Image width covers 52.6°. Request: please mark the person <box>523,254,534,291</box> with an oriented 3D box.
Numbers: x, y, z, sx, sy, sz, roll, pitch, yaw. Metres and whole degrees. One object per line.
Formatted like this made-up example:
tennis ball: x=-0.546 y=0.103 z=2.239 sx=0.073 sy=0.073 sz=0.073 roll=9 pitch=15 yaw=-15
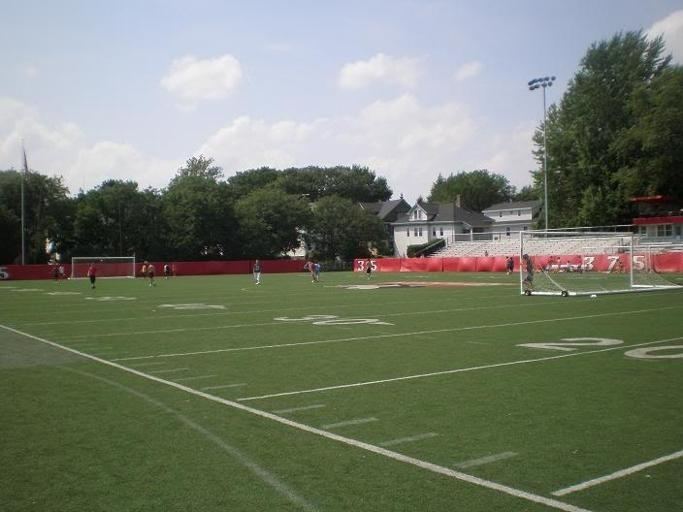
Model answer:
person: x=8.492 y=0.771 z=31.169 sx=0.479 sy=1.757 sz=1.494 roll=-3 pitch=-1 yaw=14
